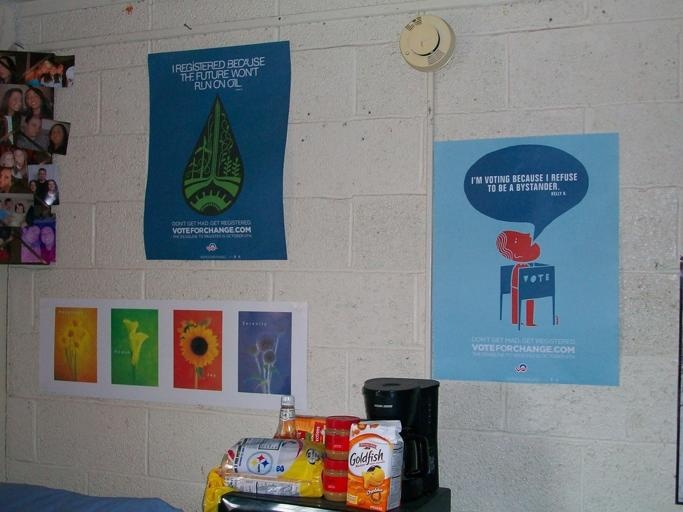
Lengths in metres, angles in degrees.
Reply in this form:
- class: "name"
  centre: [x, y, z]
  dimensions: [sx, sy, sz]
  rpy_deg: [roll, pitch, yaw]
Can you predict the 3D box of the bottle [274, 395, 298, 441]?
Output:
- class: "bottle"
  centre: [-0.198, 0.575, 2.970]
  dimensions: [0.076, 0.143, 0.146]
  rpy_deg: [1, -3, -5]
